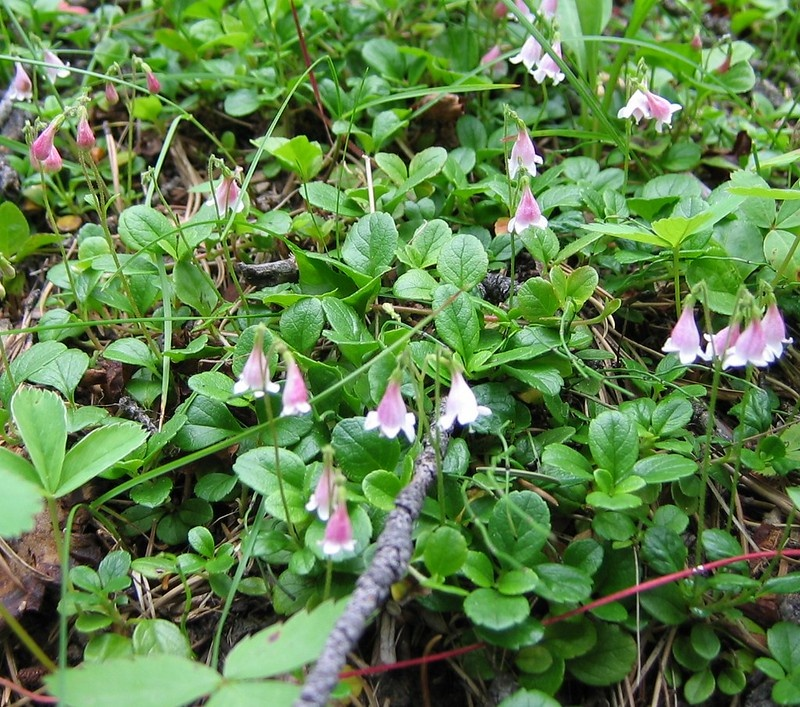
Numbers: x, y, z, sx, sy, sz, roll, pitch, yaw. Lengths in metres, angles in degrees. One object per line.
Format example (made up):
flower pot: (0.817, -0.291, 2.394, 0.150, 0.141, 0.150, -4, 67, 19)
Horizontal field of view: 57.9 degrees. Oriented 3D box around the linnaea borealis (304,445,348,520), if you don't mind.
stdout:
linnaea borealis: (-0.255, 0.455, 2.489, 0.125, 0.240, 0.163, -23, 53, -24)
